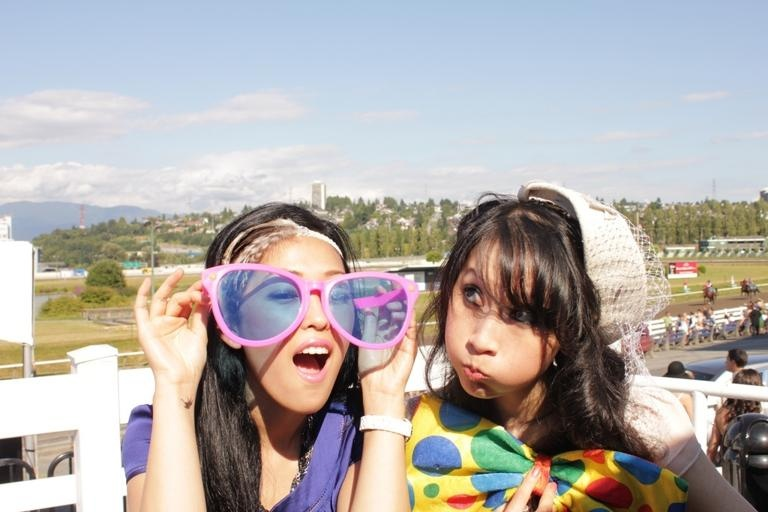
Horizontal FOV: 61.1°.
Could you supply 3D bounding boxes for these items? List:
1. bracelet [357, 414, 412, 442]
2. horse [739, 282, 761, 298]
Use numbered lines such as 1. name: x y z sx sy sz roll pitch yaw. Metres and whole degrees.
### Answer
1. bracelet: 0.011 0.761 2.922 0.192 0.112 0.181 13 -21 -22
2. horse: 27.826 2.619 49.353 1.319 0.545 2.464 -10 -10 40
